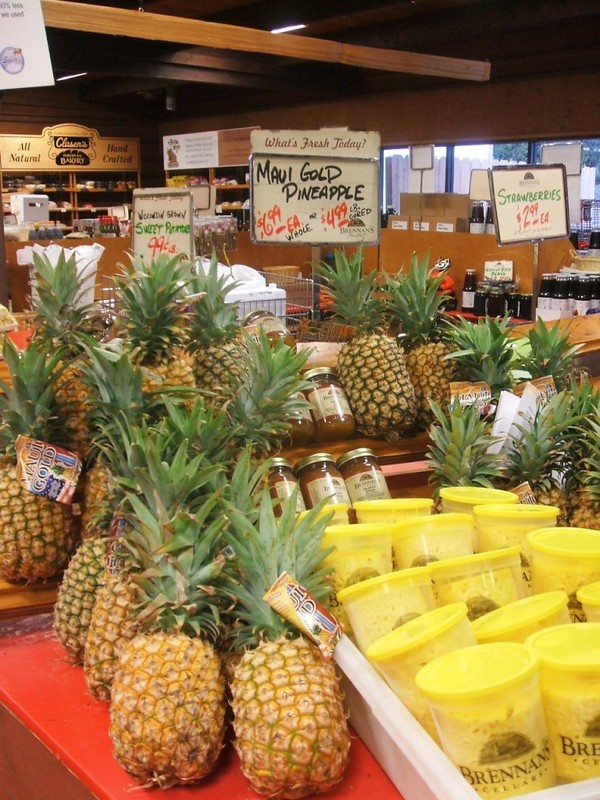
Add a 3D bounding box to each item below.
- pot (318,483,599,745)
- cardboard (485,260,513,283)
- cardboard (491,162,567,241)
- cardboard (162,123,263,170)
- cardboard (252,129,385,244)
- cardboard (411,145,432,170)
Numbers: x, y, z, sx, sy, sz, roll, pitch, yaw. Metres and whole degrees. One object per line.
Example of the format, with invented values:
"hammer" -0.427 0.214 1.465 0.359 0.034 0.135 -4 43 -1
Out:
"pot" 0.313 0.348 1.080 0.363 0.257 0.335 -18 1 0
"cardboard" 2.045 -1.322 6.214 0.241 0.192 0.031 9 15 35
"cardboard" 1.458 -1.249 3.866 0.547 0.491 0.051 -9 7 -14
"cardboard" -1.457 -4.097 9.884 1.300 0.777 1.769 -3 11 -6
"cardboard" 0.075 -0.918 2.617 0.572 0.465 0.067 5 20 13
"cardboard" 1.526 -3.050 7.583 0.228 0.347 0.517 -3 11 -1
